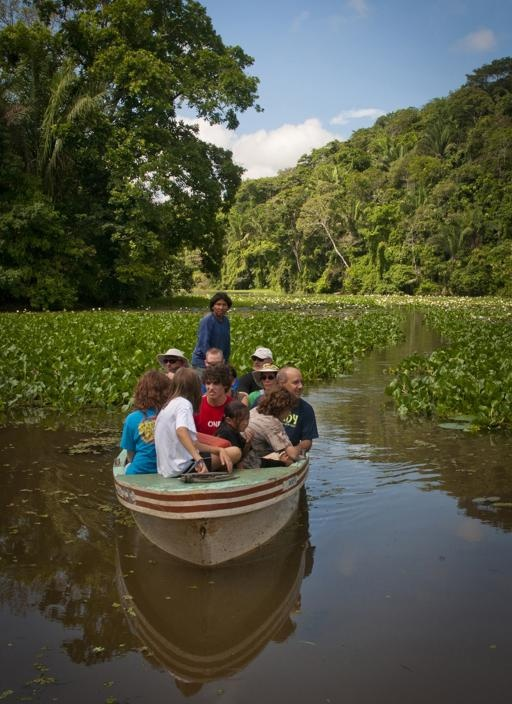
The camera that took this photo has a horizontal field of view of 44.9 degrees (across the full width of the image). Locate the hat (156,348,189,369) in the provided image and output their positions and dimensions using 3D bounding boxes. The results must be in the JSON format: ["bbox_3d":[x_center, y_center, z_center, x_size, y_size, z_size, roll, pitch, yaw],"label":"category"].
[{"bbox_3d":[-0.965,0.074,6.945,0.301,0.108,0.377,0,-21,3],"label":"hat"}]

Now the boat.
[{"bbox_3d":[-0.201,1.079,4.119,1.235,0.670,0.725,-5,8,-34],"label":"boat"}]

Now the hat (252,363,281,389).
[{"bbox_3d":[0.091,0.241,5.670,0.231,0.246,0.075,-26,33,-24],"label":"hat"}]
